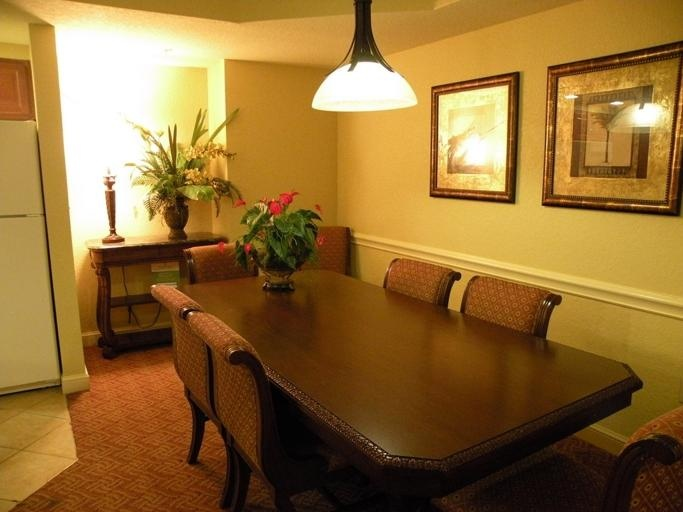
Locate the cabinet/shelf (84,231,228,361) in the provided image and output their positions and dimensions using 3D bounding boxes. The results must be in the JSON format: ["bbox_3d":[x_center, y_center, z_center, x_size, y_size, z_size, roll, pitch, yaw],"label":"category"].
[{"bbox_3d":[-1.493,0.291,3.905,0.930,0.856,0.398,-7,21,-26],"label":"cabinet/shelf"}]

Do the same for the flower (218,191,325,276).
[{"bbox_3d":[-0.389,-0.188,3.247,0.517,0.417,0.499,-5,2,35],"label":"flower"}]

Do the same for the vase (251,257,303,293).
[{"bbox_3d":[-0.428,0.144,3.364,0.238,0.133,0.229,0,6,-12],"label":"vase"}]

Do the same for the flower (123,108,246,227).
[{"bbox_3d":[-1.443,-0.784,4.591,1.004,0.722,1.015,-1,7,-29],"label":"flower"}]
